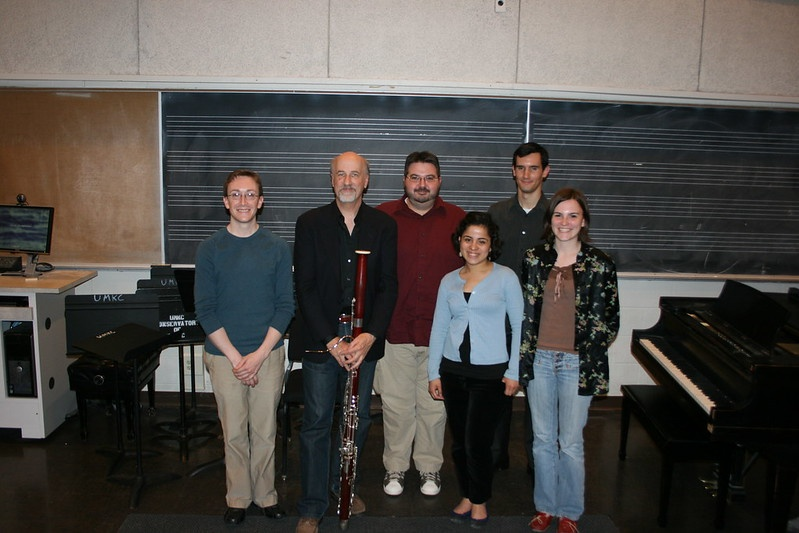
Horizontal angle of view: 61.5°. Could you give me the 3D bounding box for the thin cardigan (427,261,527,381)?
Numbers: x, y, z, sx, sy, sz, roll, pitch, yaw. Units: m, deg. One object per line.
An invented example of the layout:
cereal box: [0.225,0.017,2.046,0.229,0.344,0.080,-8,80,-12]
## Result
thin cardigan: [0.594,0.407,5.153,0.675,0.866,0.507,7,14,4]

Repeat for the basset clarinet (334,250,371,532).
basset clarinet: [-0.335,0.910,4.985,0.256,2.068,0.308,0,8,-5]

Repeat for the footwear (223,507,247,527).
footwear: [-1.234,1.860,5.019,0.103,0.068,0.178,3,-10,-4]

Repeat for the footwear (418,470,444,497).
footwear: [0.255,1.738,5.392,0.185,0.169,0.432,0,-9,4]
